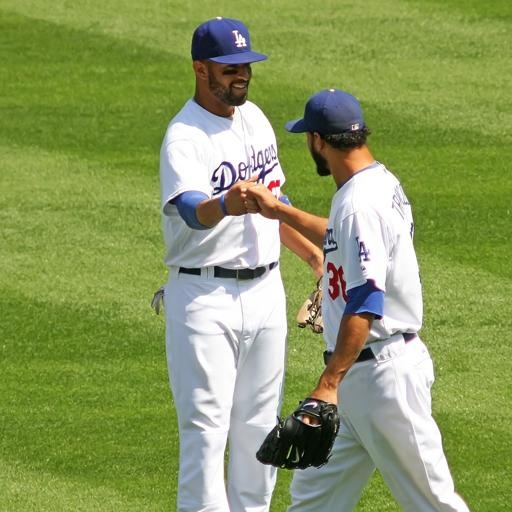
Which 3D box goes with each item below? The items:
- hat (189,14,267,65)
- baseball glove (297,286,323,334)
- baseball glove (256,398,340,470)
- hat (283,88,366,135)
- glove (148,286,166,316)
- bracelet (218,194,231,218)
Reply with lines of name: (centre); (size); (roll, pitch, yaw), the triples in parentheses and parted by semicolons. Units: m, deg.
hat: (-0.156, -1.268, 7.762); (0.483, 0.298, 0.361); (2, 4, 33)
baseball glove: (0.342, 0.344, 8.133); (0.166, 0.260, 0.085); (2, 0, -5)
baseball glove: (0.259, 1.000, 7.201); (0.312, 0.437, 0.209); (32, 25, -3)
hat: (0.422, -0.829, 7.463); (0.317, 0.218, 0.228); (8, 21, 25)
glove: (-0.655, 0.306, 8.827); (0.056, 0.226, 0.147); (11, 3, 18)
bracelet: (-0.176, -0.296, 7.405); (0.022, 0.088, 0.090); (-12, 39, -1)
